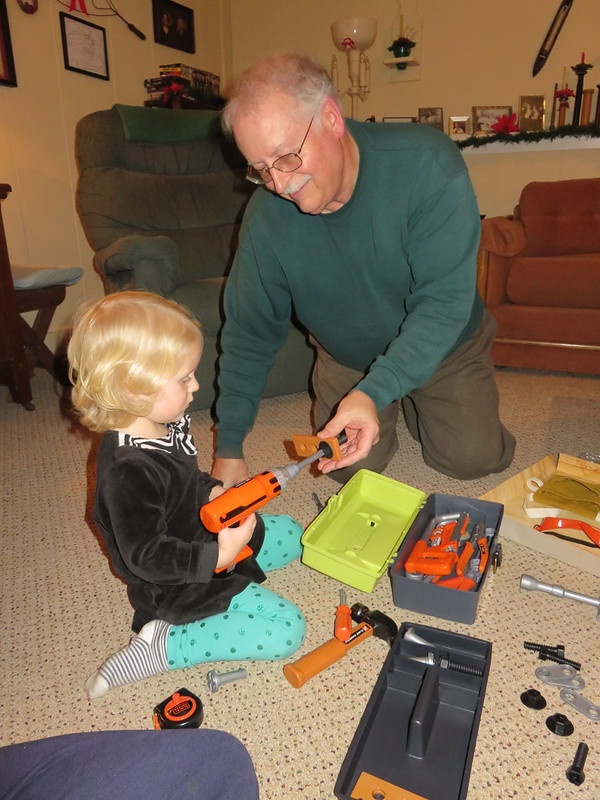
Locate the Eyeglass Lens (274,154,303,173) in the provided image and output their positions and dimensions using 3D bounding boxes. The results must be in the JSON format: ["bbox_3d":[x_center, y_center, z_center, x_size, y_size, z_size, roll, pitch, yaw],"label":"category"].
[{"bbox_3d":[-0.023,-0.432,1.176,0.053,0.037,0.016,0,29,-3],"label":"Eyeglass Lens"}]

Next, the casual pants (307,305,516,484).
[{"bbox_3d":[0.281,0.032,1.804,0.397,0.421,0.237,-23,38,-11],"label":"casual pants"}]

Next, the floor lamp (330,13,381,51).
[{"bbox_3d":[0.248,-1.784,3.161,0.159,0.139,0.263,-19,34,-33],"label":"floor lamp"}]

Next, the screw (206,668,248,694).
[{"bbox_3d":[-0.127,0.481,1.127,0.063,0.032,0.034,-5,13,-29],"label":"screw"}]

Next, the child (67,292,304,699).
[{"bbox_3d":[-0.187,0.141,1.194,0.453,0.610,0.548,4,17,13],"label":"child"}]

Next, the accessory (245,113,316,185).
[{"bbox_3d":[-0.029,-0.456,1.207,0.105,0.033,0.107,1,58,52],"label":"accessory"}]

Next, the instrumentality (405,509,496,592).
[{"bbox_3d":[0.302,0.295,1.290,0.112,0.041,0.144,6,26,29],"label":"instrumentality"}]

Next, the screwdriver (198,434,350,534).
[{"bbox_3d":[-0.047,0.115,1.122,0.323,0.111,0.064,-25,31,-35],"label":"screwdriver"}]

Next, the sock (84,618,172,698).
[{"bbox_3d":[-0.284,0.447,1.116,0.151,0.052,0.079,-29,73,-12],"label":"sock"}]
